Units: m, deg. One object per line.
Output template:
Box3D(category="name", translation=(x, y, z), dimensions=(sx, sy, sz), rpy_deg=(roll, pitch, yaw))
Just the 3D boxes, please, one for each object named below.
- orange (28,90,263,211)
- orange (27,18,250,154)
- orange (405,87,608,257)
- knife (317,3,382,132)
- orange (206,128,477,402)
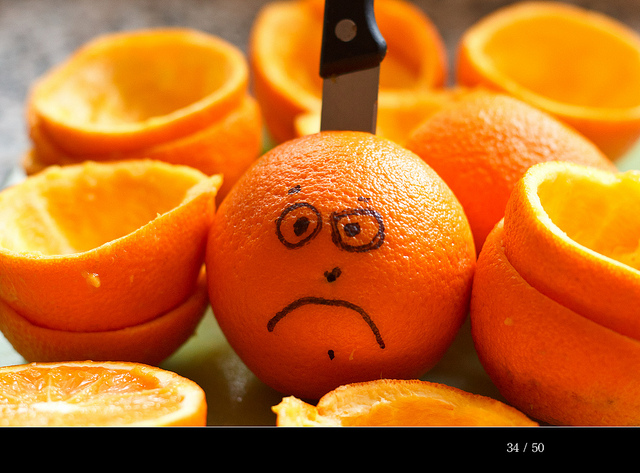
Box3D(category="orange", translation=(-0.222, -0.139, 1.003), dimensions=(0.204, 0.147, 0.229), rpy_deg=(-4, 28, 4))
Box3D(category="orange", translation=(-0.263, -0.225, 1.059), dimensions=(0.255, 0.173, 0.288), rpy_deg=(5, 38, 35))
Box3D(category="orange", translation=(0.232, -0.091, 0.940), dimensions=(0.203, 0.219, 0.212), rpy_deg=(5, 5, -24))
Box3D(category="knife", translation=(0.037, -0.198, 0.800), dimensions=(0.069, 0.129, 0.079), rpy_deg=(3, 46, 3))
Box3D(category="orange", translation=(0.023, 0.034, 0.886), dimensions=(0.332, 0.375, 0.345), rpy_deg=(5, 16, 12))
